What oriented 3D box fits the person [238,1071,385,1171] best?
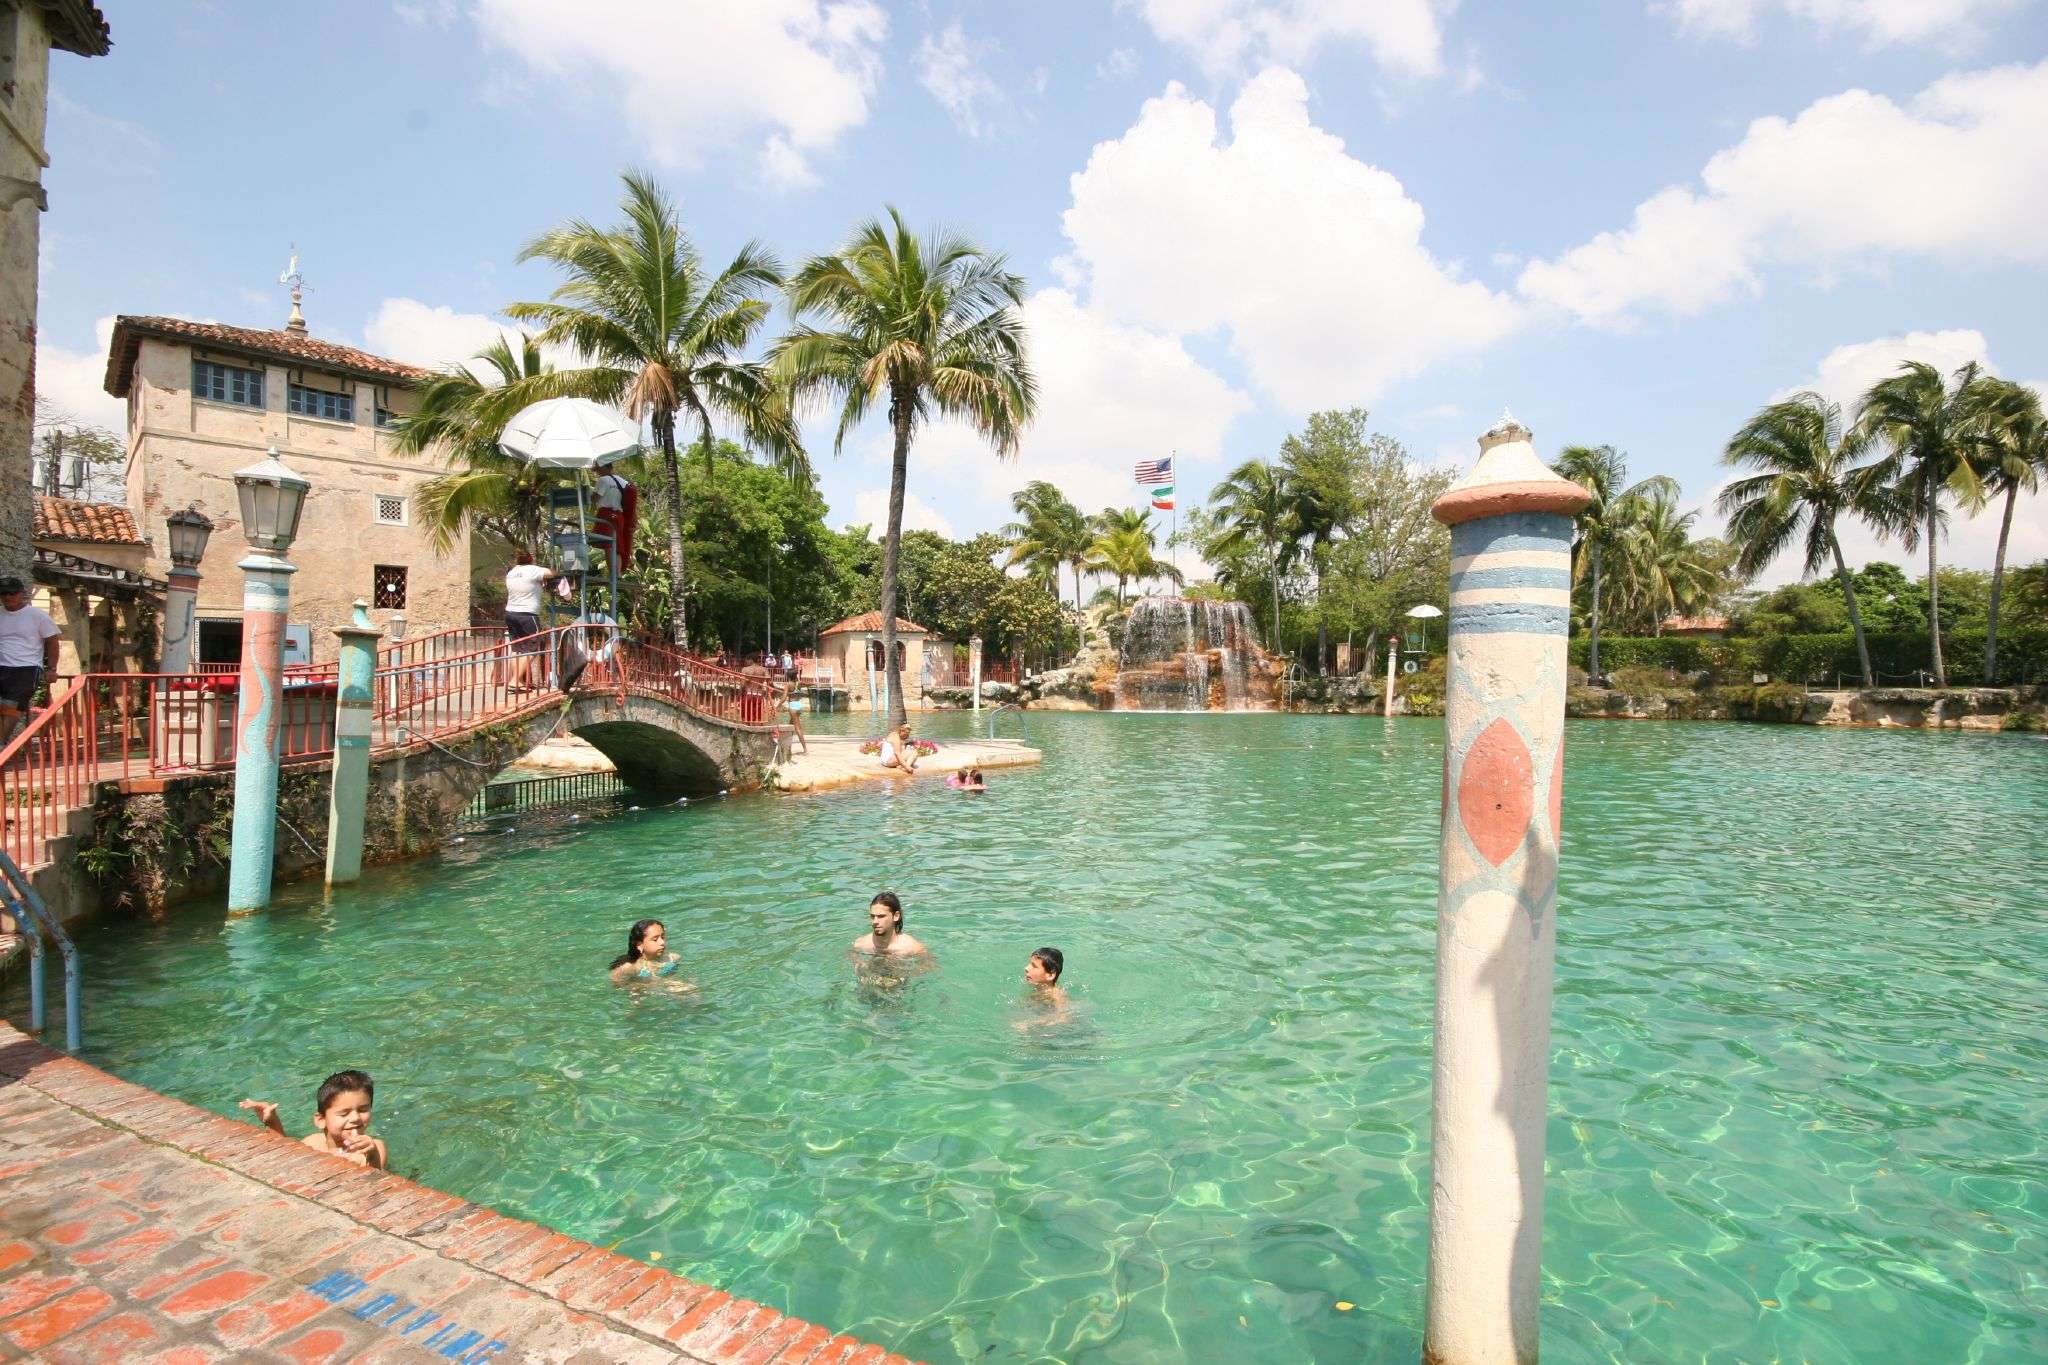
[{"bbox_3d":[-5.705,3.603,10.271,0.684,1.207,0.504,1,-21,-14],"label":"person"}]

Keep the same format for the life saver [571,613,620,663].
[{"bbox_3d":[-6.851,-0.691,20.663,0.644,0.732,0.654,3,4,37],"label":"life saver"}]

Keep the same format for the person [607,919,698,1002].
[{"bbox_3d":[-3.904,3.034,13.745,0.935,0.649,0.647,-2,-2,37],"label":"person"}]

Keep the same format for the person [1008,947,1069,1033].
[{"bbox_3d":[0.196,3.257,13.251,0.572,0.867,0.634,8,2,-45],"label":"person"}]

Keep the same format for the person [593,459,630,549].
[{"bbox_3d":[-7.030,-2.974,21.854,0.574,1.551,0.708,11,15,40],"label":"person"}]
